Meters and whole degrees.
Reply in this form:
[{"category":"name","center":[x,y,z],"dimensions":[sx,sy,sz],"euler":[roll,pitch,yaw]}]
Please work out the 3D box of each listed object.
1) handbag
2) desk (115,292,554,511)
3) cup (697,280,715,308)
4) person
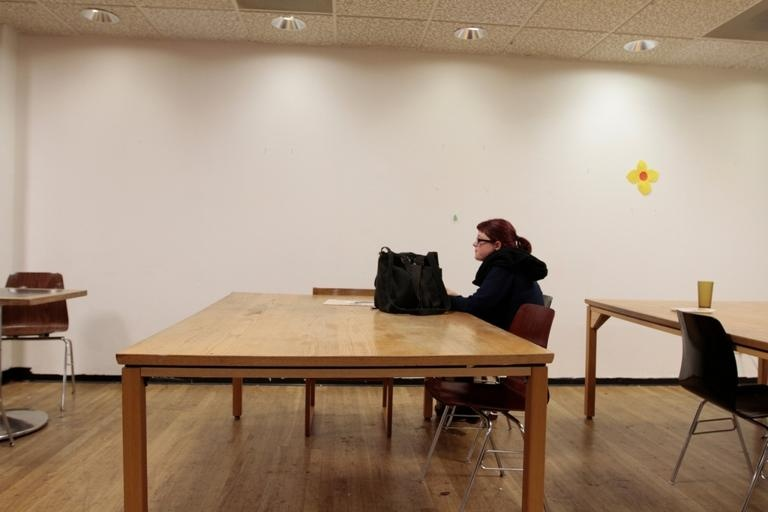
[{"category":"handbag","center":[0.179,0.191,3.580],"dimensions":[0.724,0.508,0.395],"euler":[2,0,3]},{"category":"desk","center":[-0.250,0.775,3.035],"dimensions":[2.016,0.805,1.285],"euler":[2,4,-2]},{"category":"cup","center":[2.235,0.264,3.609],"dimensions":[0.074,0.188,0.168],"euler":[6,5,38]},{"category":"person","center":[0.793,0.384,3.823],"dimensions":[0.778,1.221,0.527],"euler":[3,12,25]}]
